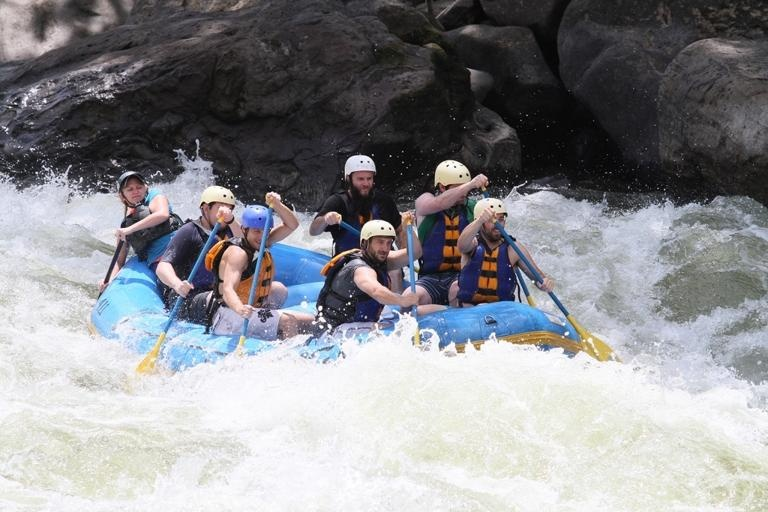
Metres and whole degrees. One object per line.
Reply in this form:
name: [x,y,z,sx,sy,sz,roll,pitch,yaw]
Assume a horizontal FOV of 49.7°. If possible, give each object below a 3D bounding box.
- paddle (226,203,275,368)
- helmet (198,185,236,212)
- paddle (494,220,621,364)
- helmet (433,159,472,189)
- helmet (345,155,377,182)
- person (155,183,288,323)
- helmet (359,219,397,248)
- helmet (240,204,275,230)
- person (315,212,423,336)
paddle: [-1.269,0.239,8.463,0.264,1.772,0.209,-15,-32,43]
helmet: [-1.847,-0.632,9.249,0.309,0.187,0.255,7,4,15]
paddle: [1.836,0.472,8.490,0.172,2.629,0.549,-42,47,1]
helmet: [0.751,-0.910,9.112,0.334,0.260,0.271,5,15,31]
helmet: [-0.281,-0.993,9.309,0.251,0.261,0.327,-2,17,-8]
person: [-1.779,-0.098,9.359,1.412,1.678,1.056,2,34,-26]
helmet: [-0.059,-0.242,8.120,0.212,0.275,0.211,2,59,-30]
helmet: [-1.357,-0.381,8.648,0.205,0.278,0.213,7,63,-19]
person: [-0.203,0.273,8.088,0.919,1.137,0.583,1,24,-5]
